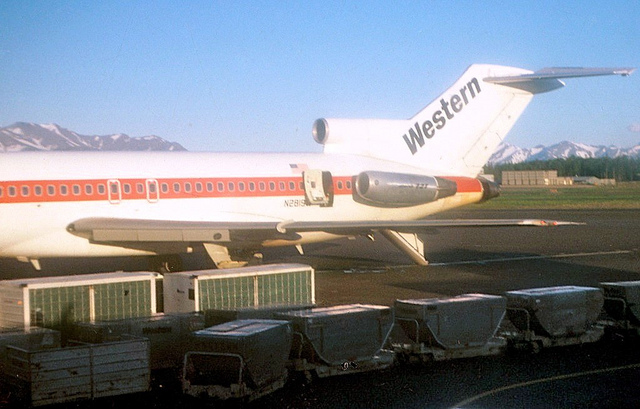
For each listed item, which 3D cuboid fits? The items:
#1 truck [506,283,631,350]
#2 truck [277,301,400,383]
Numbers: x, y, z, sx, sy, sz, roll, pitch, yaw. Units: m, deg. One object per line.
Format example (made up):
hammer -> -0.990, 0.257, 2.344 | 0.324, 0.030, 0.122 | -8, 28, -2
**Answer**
truck -> 6.626, 3.056, 16.590 | 3.682, 1.648, 1.366 | 1, 3, -30
truck -> 0.371, 3.503, 14.938 | 2.847, 1.736, 1.803 | 0, -11, -27
